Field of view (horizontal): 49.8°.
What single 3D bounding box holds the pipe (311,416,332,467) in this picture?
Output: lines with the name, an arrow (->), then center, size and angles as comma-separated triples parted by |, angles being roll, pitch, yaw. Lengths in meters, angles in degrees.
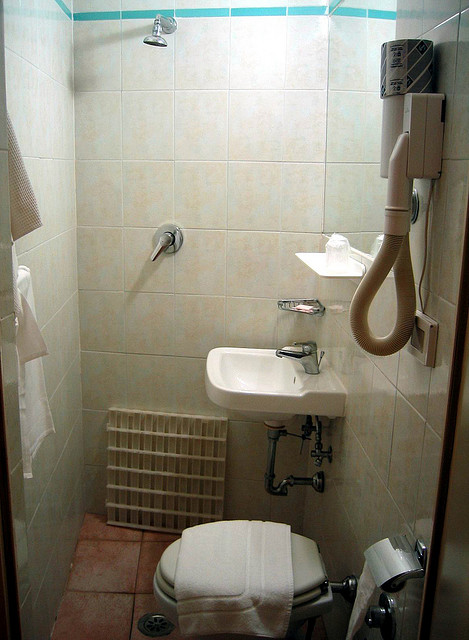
pipe -> 0.317, 0.431, 1.831 | 0.061, 0.204, 0.054 | 2, 3, 20

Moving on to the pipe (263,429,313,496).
pipe -> 0.223, 0.557, 2.030 | 0.206, 0.373, 0.066 | 1, 29, 0

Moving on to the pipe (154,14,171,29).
pipe -> -0.256, -1.066, 1.826 | 0.028, 0.055, 0.118 | 0, 16, 13

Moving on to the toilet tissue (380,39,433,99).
toilet tissue -> 0.301, -0.442, 0.917 | 0.063, 0.110, 0.092 | -2, 19, -10

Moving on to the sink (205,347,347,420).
sink -> 0.122, 0.136, 1.891 | 0.438, 0.279, 0.547 | 1, 11, -3

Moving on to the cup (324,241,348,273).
cup -> 0.315, -0.198, 1.556 | 0.066, 0.092, 0.090 | 8, 11, 12
